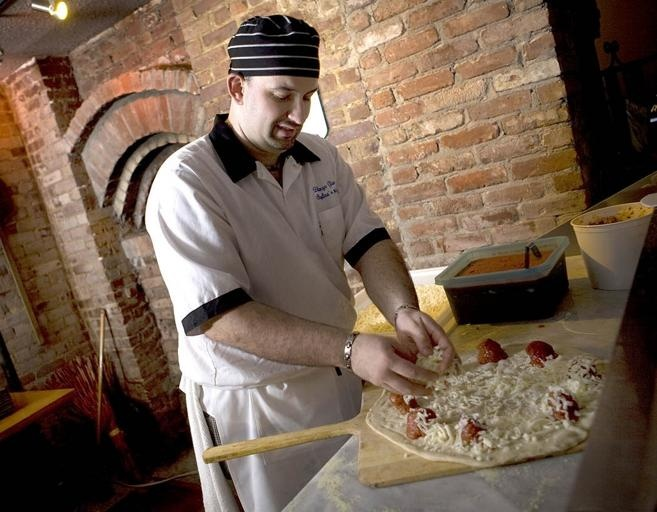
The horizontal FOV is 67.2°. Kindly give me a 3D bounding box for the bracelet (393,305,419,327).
[{"bbox_3d":[0.225,0.175,1.450,0.085,0.052,0.069,-14,8,7],"label":"bracelet"}]

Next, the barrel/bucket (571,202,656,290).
[{"bbox_3d":[0.893,-0.017,1.528,0.217,0.252,0.207,-15,9,2],"label":"barrel/bucket"}]

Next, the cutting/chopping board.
[{"bbox_3d":[0.246,0.417,1.226,0.765,0.037,0.417,-10,15,3],"label":"cutting/chopping board"}]

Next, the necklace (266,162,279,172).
[{"bbox_3d":[-0.190,-0.295,1.650,0.049,0.011,0.046,-1,3,-1],"label":"necklace"}]

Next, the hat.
[{"bbox_3d":[-0.205,-0.653,1.527,0.322,0.170,0.253,-7,27,-15],"label":"hat"}]

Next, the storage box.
[{"bbox_3d":[0.604,0.087,1.704,0.407,0.176,0.481,-7,10,40],"label":"storage box"}]
